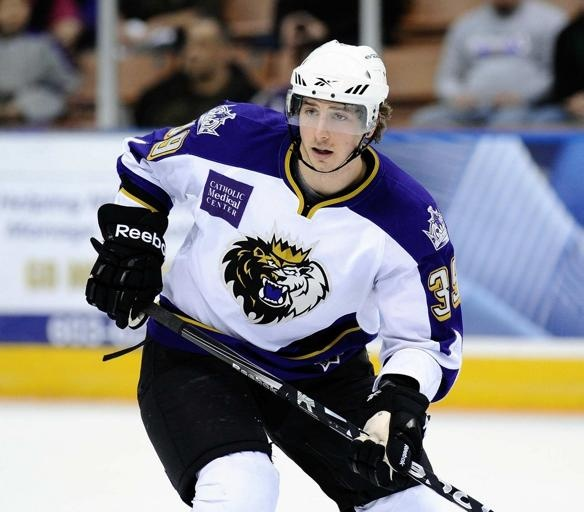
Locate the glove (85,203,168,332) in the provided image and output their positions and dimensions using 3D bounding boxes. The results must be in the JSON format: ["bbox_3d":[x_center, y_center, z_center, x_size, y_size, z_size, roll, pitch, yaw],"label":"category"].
[{"bbox_3d":[-0.584,0.055,3.641,0.340,0.396,0.177,12,-11,-1],"label":"glove"}]

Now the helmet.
[{"bbox_3d":[0.174,-0.539,3.419,0.294,0.326,0.334,18,23,30],"label":"helmet"}]

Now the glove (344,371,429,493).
[{"bbox_3d":[0.345,0.571,3.272,0.270,0.341,0.160,20,-3,28],"label":"glove"}]
